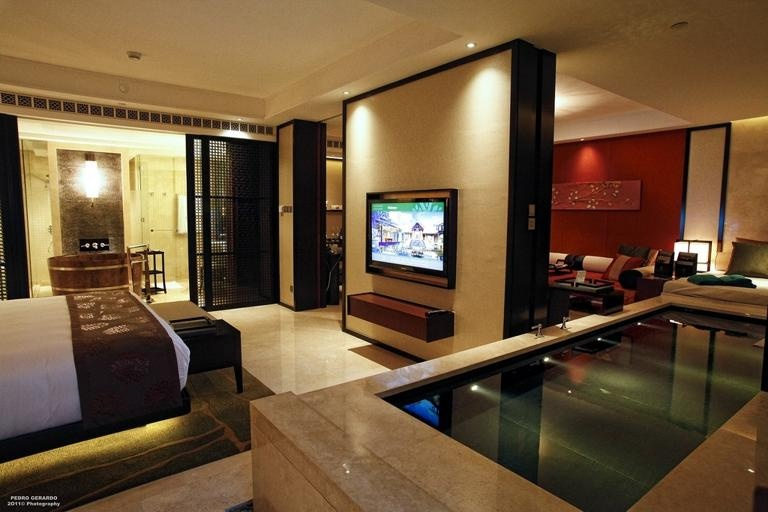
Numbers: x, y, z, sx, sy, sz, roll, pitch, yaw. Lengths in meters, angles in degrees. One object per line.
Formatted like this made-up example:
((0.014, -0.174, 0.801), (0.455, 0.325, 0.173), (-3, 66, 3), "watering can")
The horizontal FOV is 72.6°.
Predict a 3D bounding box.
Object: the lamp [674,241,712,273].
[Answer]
((4.812, -0.007, 8.134), (0.506, 0.468, 0.365), (3, 8, 28), "lamp")

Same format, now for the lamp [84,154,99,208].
((-5.041, -1.331, 9.031), (0.274, 0.909, 0.223), (-6, 9, -27), "lamp")

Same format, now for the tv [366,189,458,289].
((0.317, -0.225, 6.104), (1.287, 1.078, 0.174), (6, 11, 45), "tv")
